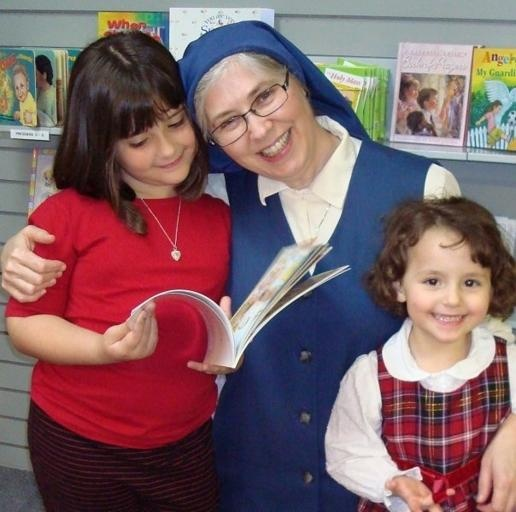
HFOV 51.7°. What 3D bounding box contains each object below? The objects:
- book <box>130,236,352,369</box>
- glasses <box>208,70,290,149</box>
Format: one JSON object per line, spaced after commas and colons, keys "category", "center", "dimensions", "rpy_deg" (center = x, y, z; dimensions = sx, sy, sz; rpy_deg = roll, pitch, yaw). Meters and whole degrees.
{"category": "book", "center": [-0.057, 0.129, 1.151], "dimensions": [0.417, 0.328, 0.266], "rpy_deg": [0, 5, -16]}
{"category": "glasses", "center": [-0.004, -0.328, 1.214], "dimensions": [0.164, 0.050, 0.174], "rpy_deg": [-32, 13, 46]}
